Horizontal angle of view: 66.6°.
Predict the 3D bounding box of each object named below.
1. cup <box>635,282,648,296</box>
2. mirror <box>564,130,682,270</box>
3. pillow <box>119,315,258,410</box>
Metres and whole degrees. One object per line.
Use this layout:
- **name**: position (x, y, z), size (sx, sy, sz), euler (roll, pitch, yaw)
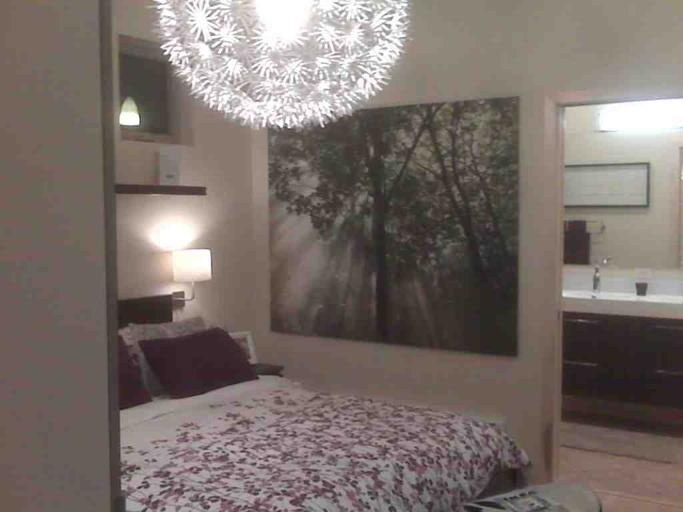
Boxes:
- **cup**: position (1.684, 0.183, 2.920), size (0.071, 0.079, 0.069), euler (1, -4, 0)
- **mirror**: position (1.651, -0.344, 3.004), size (0.055, 0.786, 0.791), euler (-2, 1, -29)
- **pillow**: position (-0.515, 0.362, 1.716), size (0.357, 0.308, 0.105), euler (-8, 1, -22)
